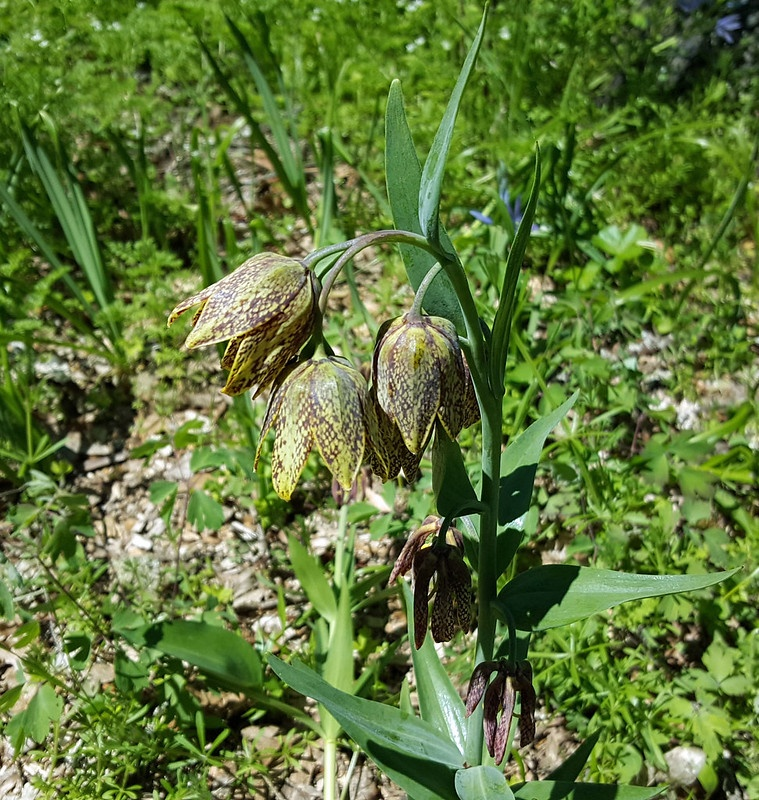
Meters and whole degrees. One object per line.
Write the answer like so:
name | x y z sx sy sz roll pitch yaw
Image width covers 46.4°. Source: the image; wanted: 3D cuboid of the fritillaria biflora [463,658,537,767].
fritillaria biflora | 0.230 0.569 1.653 0.118 0.202 0.117 -20 30 -18

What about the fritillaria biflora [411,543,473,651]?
fritillaria biflora | 0.120 0.377 1.720 0.094 0.109 0.195 2 70 0

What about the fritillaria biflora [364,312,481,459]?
fritillaria biflora | 0.071 -0.020 1.613 0.169 0.287 0.161 -11 11 -35

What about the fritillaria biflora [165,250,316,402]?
fritillaria biflora | -0.221 -0.141 1.531 0.267 0.217 0.131 -42 7 4
